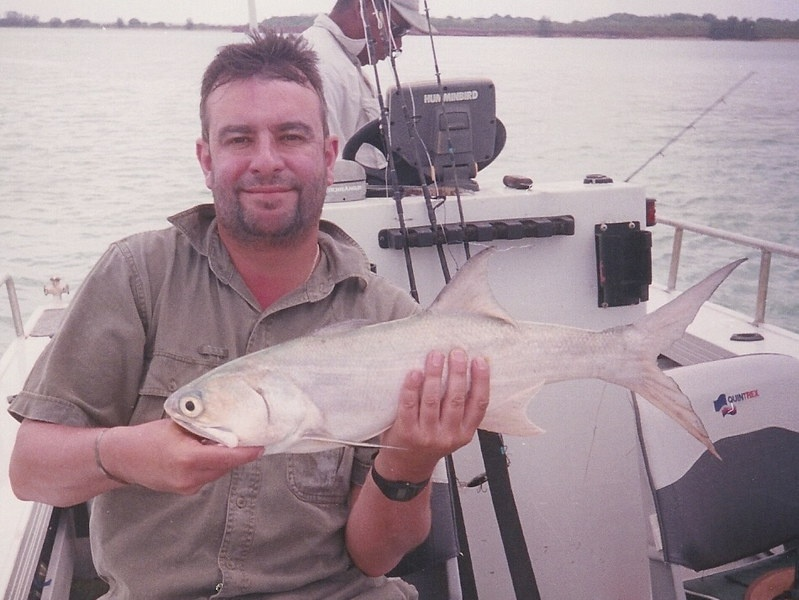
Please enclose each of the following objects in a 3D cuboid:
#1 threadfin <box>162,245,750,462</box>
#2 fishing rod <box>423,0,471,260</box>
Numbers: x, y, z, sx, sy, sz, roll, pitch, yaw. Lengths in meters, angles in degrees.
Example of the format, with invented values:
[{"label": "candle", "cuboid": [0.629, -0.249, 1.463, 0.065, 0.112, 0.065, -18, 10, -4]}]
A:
[{"label": "threadfin", "cuboid": [0.134, 0.207, 2.595, 1.965, 0.714, 0.331, -5, 16, -2]}, {"label": "fishing rod", "cuboid": [0.294, -0.972, 4.354, 0.057, 2.680, 0.113, -6, 4, -18]}]
